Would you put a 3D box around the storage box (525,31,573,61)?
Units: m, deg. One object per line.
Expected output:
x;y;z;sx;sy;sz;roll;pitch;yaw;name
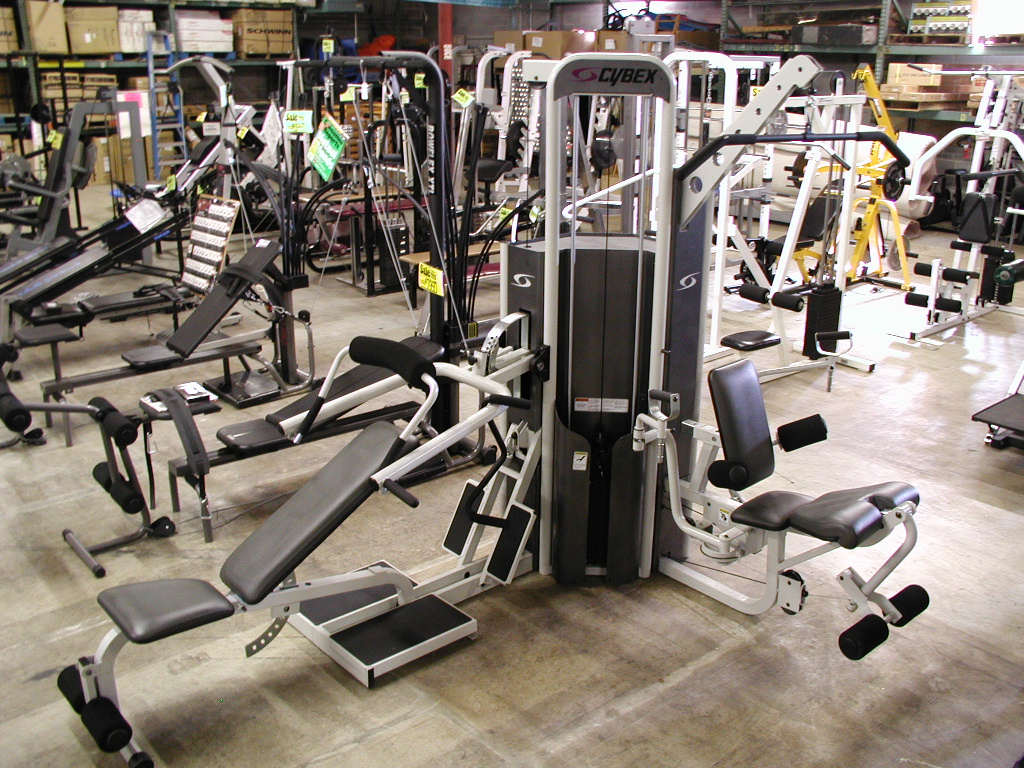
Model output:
0.432;-4.383;9.771;0.614;0.419;1.036;0;17;1;storage box

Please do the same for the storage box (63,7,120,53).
-5.936;-5.032;10.965;0.751;0.514;0.714;-4;7;-23;storage box

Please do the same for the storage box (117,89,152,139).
-3.795;-2.732;7.713;0.300;0.423;1.856;-9;19;-22;storage box

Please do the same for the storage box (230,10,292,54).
-3.806;-5.510;11.894;0.912;0.633;0.843;-2;18;-11;storage box

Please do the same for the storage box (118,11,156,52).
-5.461;-5.191;11.146;0.472;0.621;0.475;-4;18;-10;storage box

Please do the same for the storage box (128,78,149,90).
-5.435;-4.412;11.119;0.259;0.212;0.822;-9;19;-25;storage box
